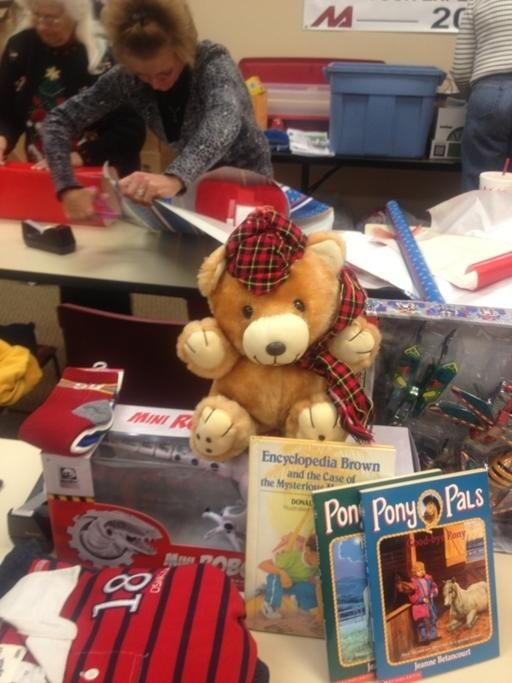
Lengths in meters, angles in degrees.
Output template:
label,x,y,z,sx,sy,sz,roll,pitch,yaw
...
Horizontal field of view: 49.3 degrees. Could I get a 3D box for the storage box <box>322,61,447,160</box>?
label,x,y,z,sx,sy,sz,roll,pitch,yaw
storage box,0.672,-1.229,3.048,0.639,0.428,0.384,4,13,5

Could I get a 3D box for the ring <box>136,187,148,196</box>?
label,x,y,z,sx,sy,sz,roll,pitch,yaw
ring,-0.270,-0.357,1.329,0.017,0.017,0.005,11,27,23
